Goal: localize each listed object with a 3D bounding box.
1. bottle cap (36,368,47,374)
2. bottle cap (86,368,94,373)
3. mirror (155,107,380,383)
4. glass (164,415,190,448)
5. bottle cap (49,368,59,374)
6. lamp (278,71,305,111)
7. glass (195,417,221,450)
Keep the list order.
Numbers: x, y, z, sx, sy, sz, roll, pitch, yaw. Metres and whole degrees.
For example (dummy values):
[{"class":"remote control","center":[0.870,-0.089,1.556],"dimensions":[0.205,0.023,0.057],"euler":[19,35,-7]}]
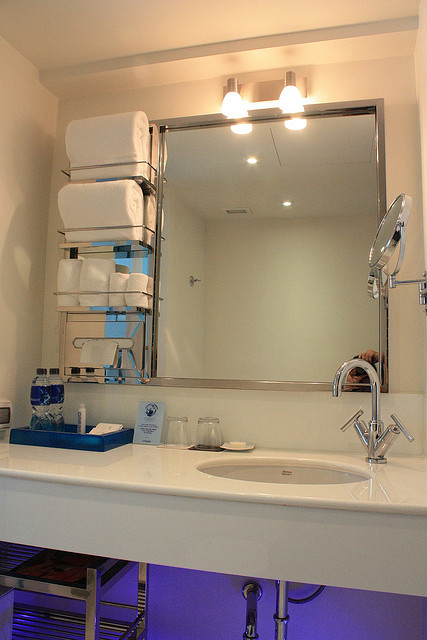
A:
[{"class":"bottle cap","center":[-0.568,0.169,1.768],"dimensions":[0.029,0.017,0.029],"euler":[1,-2,33]},{"class":"bottle cap","center":[-0.432,0.179,1.872],"dimensions":[0.017,0.016,0.017],"euler":[2,-6,8]},{"class":"mirror","center":[0.203,-0.221,1.736],"dimensions":[0.955,1.086,0.042],"euler":[0,-5,12]},{"class":"glass","center":[-0.116,0.361,1.694],"dimensions":[0.085,0.084,0.088],"euler":[1,-7,-6]},{"class":"bottle cap","center":[-0.536,0.168,1.795],"dimensions":[0.018,0.022,0.033],"euler":[1,-3,9]},{"class":"lamp","center":[0.251,-0.738,1.722],"dimensions":[0.075,0.118,0.126],"euler":[-2,14,14]},{"class":"glass","center":[-0.013,0.358,1.659],"dimensions":[0.088,0.082,0.084],"euler":[1,-9,1]}]
